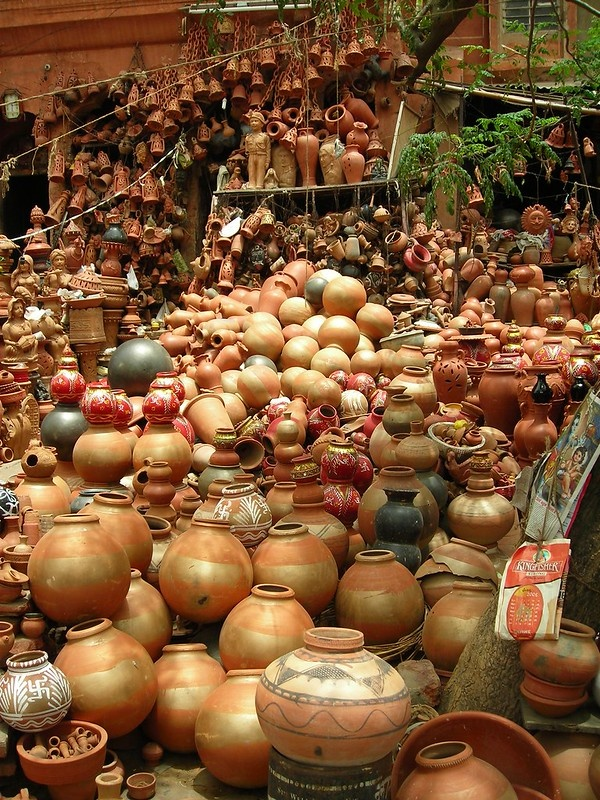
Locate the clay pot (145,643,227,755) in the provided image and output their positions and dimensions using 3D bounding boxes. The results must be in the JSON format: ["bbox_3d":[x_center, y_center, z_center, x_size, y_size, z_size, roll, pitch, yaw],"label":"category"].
[{"bbox_3d":[-0.362,0.848,2.288,0.280,0.307,0.271,0,4,0],"label":"clay pot"}]

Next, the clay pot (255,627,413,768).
[{"bbox_3d":[0.072,0.597,1.600,0.282,0.199,0.280,0,-2,0],"label":"clay pot"}]
